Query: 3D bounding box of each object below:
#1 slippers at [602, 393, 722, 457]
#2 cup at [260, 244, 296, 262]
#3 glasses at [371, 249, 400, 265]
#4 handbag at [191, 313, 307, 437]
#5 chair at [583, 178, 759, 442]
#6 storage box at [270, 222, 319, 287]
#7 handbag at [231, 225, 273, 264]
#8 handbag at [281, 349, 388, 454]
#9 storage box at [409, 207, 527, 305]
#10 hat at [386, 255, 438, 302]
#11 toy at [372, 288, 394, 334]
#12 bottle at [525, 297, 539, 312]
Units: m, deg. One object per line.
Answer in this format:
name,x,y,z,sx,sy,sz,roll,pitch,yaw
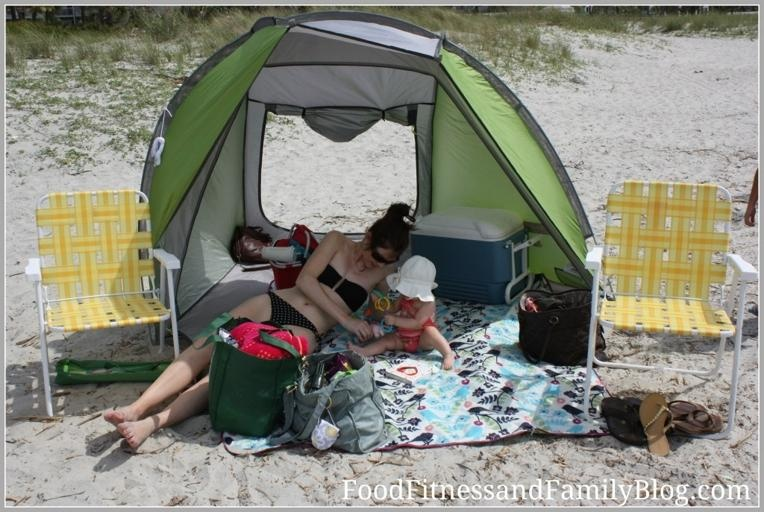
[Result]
slippers,2.233,1.353,5.834,0.556,0.135,0.663,3,36,7
cup,-1.041,-0.026,6.946,0.271,0.158,0.114,-4,52,8
glasses,0.005,0.009,6.469,0.174,0.161,0.051,5,-13,-24
handbag,-1.052,1.001,5.963,1.097,0.981,0.830,14,-7,-10
chair,2.638,0.280,6.345,1.327,1.909,2.252,9,19,25
storage box,-0.880,0.019,7.079,0.495,0.611,0.645,4,29,1
handbag,-1.567,-0.123,8.141,0.385,0.234,0.493,3,3,-8
handbag,-0.261,1.180,5.749,0.919,0.619,0.652,2,16,10
storage box,0.965,-0.065,7.476,1.164,0.795,0.881,6,18,21
hat,0.263,0.181,6.436,0.428,0.233,0.439,9,23,13
toy,-0.005,0.529,6.611,0.236,0.358,0.537,-5,-10,-2
bottle,1.387,0.456,6.515,0.098,0.048,0.146,-10,40,-35
